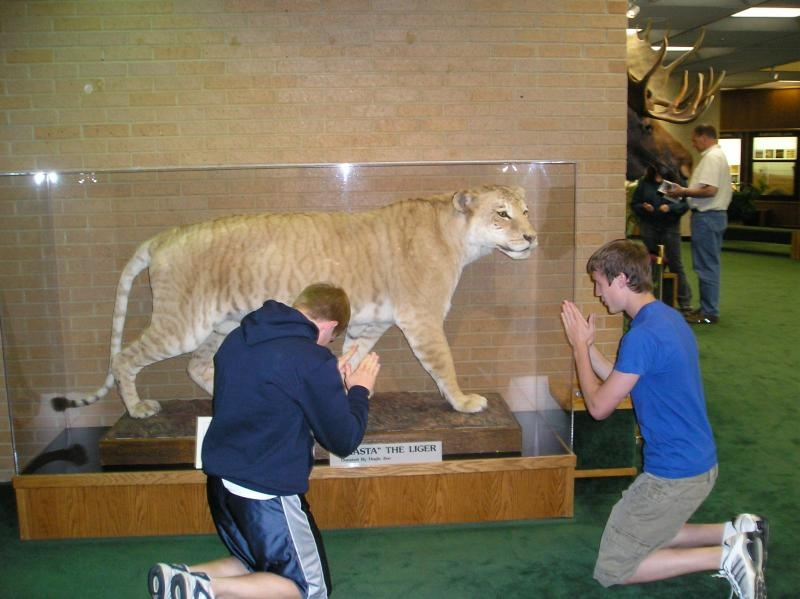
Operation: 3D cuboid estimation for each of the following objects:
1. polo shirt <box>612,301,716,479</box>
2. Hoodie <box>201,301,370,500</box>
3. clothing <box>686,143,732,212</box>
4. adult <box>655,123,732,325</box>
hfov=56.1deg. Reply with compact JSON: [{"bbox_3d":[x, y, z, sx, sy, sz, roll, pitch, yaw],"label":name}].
[{"bbox_3d":[1.188,0.399,3.328,0.400,0.778,0.240,-1,9,20],"label":"polo shirt"},{"bbox_3d":[-0.494,0.397,2.963,0.631,0.777,0.194,-2,9,13],"label":"Hoodie"},{"bbox_3d":[3.075,-1.206,7.392,0.396,0.666,0.390,-1,8,19],"label":"clothing"},{"bbox_3d":[3.009,-0.786,7.625,0.818,1.897,0.734,1,10,17],"label":"adult"}]
